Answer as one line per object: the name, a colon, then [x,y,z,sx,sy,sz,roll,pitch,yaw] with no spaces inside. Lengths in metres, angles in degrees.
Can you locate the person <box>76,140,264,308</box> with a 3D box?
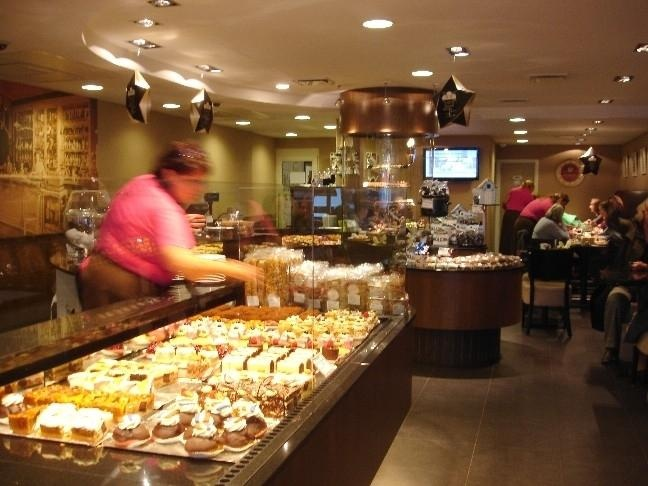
person: [-0.711,-0.110,2.326,0.758,0.687,0.433,-3,6,-18]

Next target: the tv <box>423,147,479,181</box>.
tv: [2.897,-1.765,11.573,0.999,0.731,0.433,-2,6,-15]
